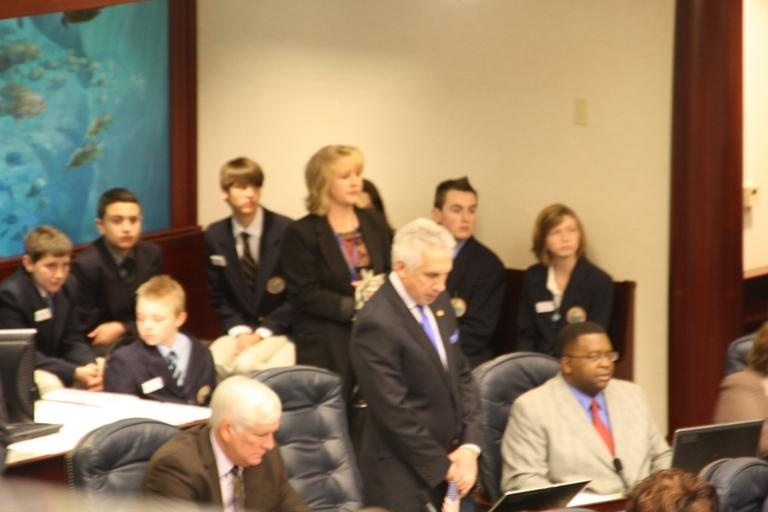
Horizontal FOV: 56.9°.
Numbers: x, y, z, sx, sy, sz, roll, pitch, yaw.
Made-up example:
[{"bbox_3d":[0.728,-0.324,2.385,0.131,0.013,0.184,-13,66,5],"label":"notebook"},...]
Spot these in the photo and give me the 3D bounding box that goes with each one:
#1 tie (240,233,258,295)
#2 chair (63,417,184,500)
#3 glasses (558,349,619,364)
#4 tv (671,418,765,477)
[{"bbox_3d":[-0.406,0.026,2.132,0.033,0.197,0.020,-11,28,-10],"label":"tie"},{"bbox_3d":[-0.495,0.364,1.350,0.134,0.183,0.141,4,-3,-40],"label":"chair"},{"bbox_3d":[0.461,0.223,1.583,0.117,0.026,0.039,-1,2,7],"label":"glasses"},{"bbox_3d":[0.734,0.418,1.578,0.172,0.113,0.120,-3,7,-17],"label":"tv"}]
